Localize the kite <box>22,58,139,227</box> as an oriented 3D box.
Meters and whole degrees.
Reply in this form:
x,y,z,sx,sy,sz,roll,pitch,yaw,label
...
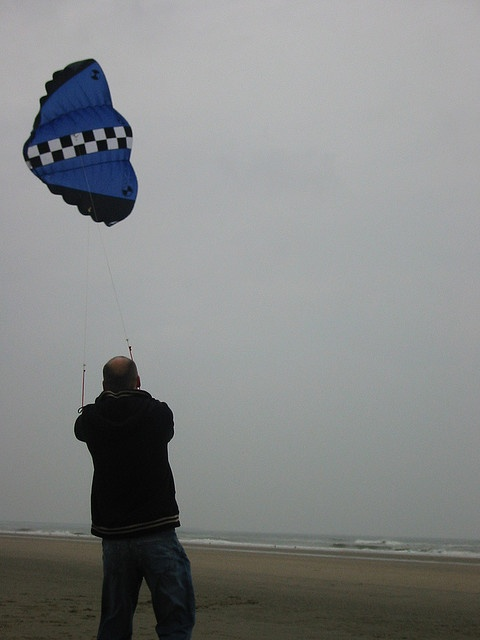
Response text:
x,y,z,sx,sy,sz,roll,pitch,yaw,label
-0.910,-1.005,4.509,0.622,1.105,0.108,-13,-21,-17,kite
